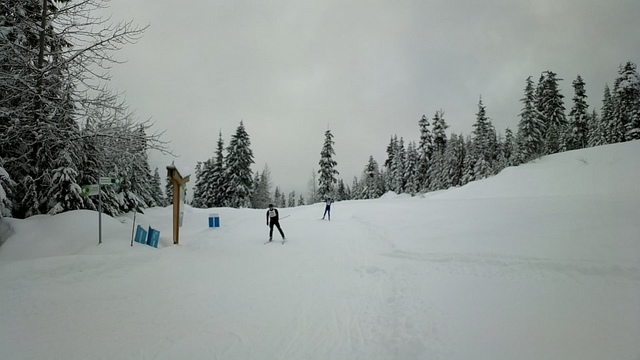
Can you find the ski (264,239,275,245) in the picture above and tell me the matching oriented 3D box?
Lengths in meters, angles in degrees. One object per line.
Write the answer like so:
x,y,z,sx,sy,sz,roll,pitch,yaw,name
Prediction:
-3.519,4.366,28.401,0.192,0.216,1.481,15,2,19,ski
